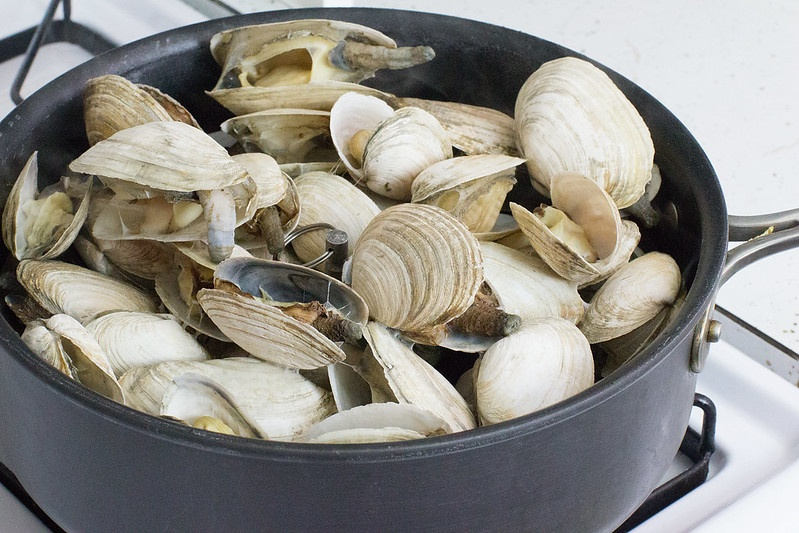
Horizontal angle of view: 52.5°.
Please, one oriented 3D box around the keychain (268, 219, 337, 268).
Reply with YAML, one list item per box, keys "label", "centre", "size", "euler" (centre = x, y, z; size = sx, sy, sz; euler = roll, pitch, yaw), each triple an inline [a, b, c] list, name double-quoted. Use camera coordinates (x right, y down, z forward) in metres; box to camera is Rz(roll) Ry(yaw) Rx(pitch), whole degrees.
- label: "keychain"
  centre: [-0.112, -0.034, 0.972]
  size: [0.050, 0.054, 0.077]
  euler: [10, 17, 38]
